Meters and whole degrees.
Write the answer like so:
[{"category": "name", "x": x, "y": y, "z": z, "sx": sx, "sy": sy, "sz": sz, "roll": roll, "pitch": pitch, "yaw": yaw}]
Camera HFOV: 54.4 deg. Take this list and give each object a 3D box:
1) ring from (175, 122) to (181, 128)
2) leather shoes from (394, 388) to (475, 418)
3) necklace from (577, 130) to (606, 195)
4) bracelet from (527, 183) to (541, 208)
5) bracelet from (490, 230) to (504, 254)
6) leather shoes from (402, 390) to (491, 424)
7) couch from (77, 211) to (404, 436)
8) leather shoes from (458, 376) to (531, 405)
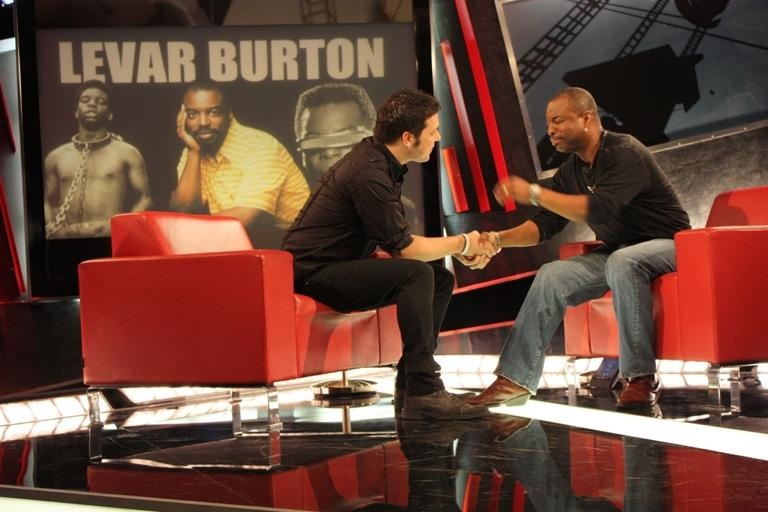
[{"category": "ring", "x": -1.379, "y": -0.882, "z": 5.010, "sx": 0.033, "sy": 0.020, "sz": 0.031, "roll": 1, "pitch": 13, "yaw": 0}, {"category": "leather shoes", "x": 0.248, "y": 0.715, "z": 3.651, "sx": 0.455, "sy": 0.156, "sz": 0.141, "roll": -1, "pitch": -4, "yaw": 2}, {"category": "necklace", "x": 1.130, "y": -0.514, "z": 4.102, "sx": 0.270, "sy": 0.319, "sz": 0.129, "roll": -1, "pitch": 1, "yaw": 22}, {"category": "bracelet", "x": 0.789, "y": -0.315, "z": 3.921, "sx": 0.045, "sy": 0.106, "sz": 0.089, "roll": 5, "pitch": -2, "yaw": -42}, {"category": "bracelet", "x": 0.629, "y": -0.080, "z": 4.196, "sx": 0.050, "sy": 0.109, "sz": 0.105, "roll": -16, "pitch": 12, "yaw": 15}, {"category": "leather shoes", "x": 0.267, "y": 0.719, "z": 3.564, "sx": 0.459, "sy": 0.155, "sz": 0.149, "roll": -1, "pitch": -6, "yaw": 2}, {"category": "couch", "x": -0.680, "y": 0.274, "z": 4.082, "sx": 1.214, "sy": 0.948, "sz": 1.525, "roll": -2, "pitch": -1, "yaw": 18}, {"category": "leather shoes", "x": 0.582, "y": 0.672, "z": 3.736, "sx": 0.381, "sy": 0.154, "sz": 0.123, "roll": 2, "pitch": -5, "yaw": -17}]
